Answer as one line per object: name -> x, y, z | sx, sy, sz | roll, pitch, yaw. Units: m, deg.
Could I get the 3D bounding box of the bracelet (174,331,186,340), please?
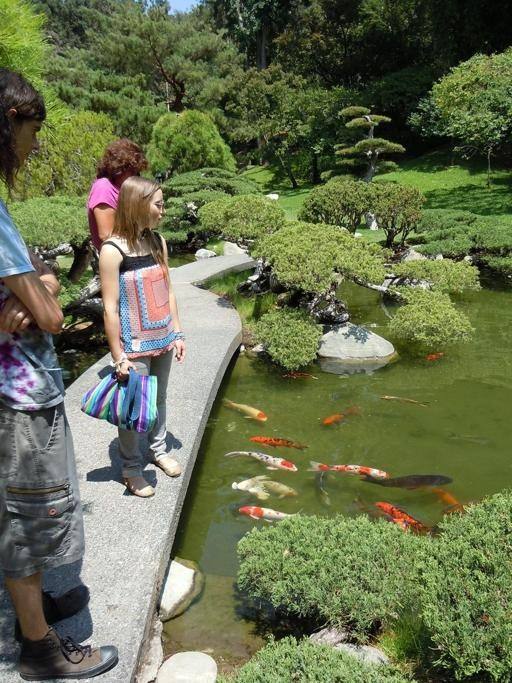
bracelet -> -0.452, -0.035, 3.424 | 0.052, 0.033, 0.051 | -4, 4, -45

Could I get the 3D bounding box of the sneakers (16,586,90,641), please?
sneakers -> -0.822, 1.100, 2.387 | 0.289, 0.185, 0.100 | -31, 53, -33

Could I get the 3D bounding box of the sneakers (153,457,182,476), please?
sneakers -> -0.532, 0.724, 3.513 | 0.076, 0.080, 0.210 | -40, 35, -25

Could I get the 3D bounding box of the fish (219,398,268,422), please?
fish -> -0.128, 0.700, 5.980 | 0.182, 0.058, 0.699 | -13, 18, -34

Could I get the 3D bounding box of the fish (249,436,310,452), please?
fish -> 0.253, 0.898, 5.210 | 0.669, 0.141, 0.241 | 1, 7, 2

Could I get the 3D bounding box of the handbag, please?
handbag -> -0.714, 0.328, 3.077 | 0.456, 0.361, 0.227 | 12, -15, 7

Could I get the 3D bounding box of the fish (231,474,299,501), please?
fish -> 0.059, 1.131, 4.478 | 0.502, 0.155, 0.231 | 8, 26, 18

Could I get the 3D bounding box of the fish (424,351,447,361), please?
fish -> 2.266, 0.186, 7.374 | 0.366, 0.050, 0.189 | -13, 18, -35

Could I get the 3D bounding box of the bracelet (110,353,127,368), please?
bracelet -> -0.679, 0.098, 2.904 | 0.060, 0.029, 0.076 | -30, 8, -15
